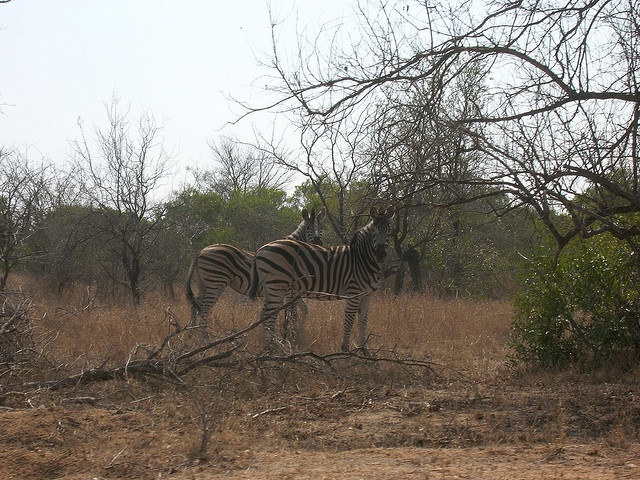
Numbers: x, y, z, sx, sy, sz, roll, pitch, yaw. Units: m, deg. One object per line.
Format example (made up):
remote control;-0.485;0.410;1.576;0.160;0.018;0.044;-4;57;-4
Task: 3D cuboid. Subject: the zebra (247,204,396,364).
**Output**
zebra;0.078;0.752;12.809;3.065;2.817;0.871;0;-14;-16

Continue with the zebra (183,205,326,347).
zebra;-1.132;0.700;13.622;2.919;2.847;0.880;6;10;28
